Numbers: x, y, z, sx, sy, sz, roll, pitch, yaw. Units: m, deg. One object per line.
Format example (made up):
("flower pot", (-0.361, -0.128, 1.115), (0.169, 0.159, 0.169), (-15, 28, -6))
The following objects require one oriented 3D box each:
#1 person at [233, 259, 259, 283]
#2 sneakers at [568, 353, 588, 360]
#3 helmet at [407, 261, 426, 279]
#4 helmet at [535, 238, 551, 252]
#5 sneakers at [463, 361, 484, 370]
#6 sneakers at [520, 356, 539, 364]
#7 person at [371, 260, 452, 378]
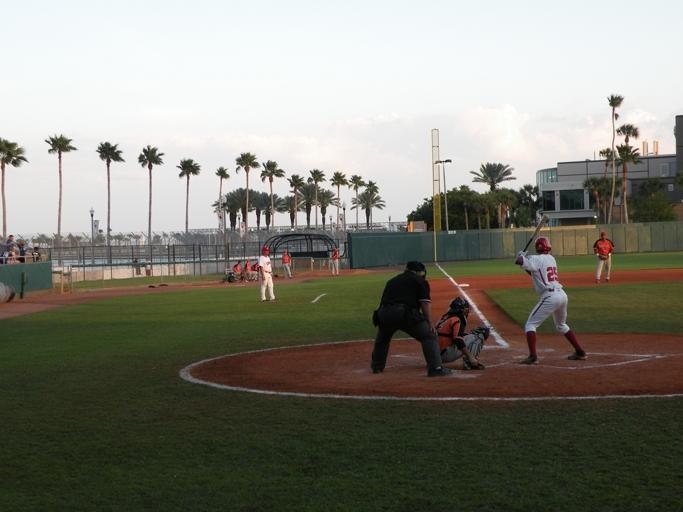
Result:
("person", (-5.480, 0.861, 48.974), (1.440, 0.903, 1.763), (1, 3, -11))
("sneakers", (4.299, 1.830, 15.605), (0.346, 0.140, 0.135), (1, 2, 21))
("helmet", (1.250, 0.245, 14.733), (0.355, 0.305, 0.292), (-5, 11, -42))
("helmet", (3.632, -0.217, 15.298), (0.255, 0.264, 0.275), (5, -13, 0))
("sneakers", (2.327, 1.893, 15.065), (0.336, 0.190, 0.162), (-4, 10, -4))
("sneakers", (3.359, 1.851, 15.236), (0.342, 0.132, 0.123), (-2, -3, 20))
("person", (1.102, 1.074, 14.568), (1.213, 1.938, 0.668), (-1, 2, 35))
